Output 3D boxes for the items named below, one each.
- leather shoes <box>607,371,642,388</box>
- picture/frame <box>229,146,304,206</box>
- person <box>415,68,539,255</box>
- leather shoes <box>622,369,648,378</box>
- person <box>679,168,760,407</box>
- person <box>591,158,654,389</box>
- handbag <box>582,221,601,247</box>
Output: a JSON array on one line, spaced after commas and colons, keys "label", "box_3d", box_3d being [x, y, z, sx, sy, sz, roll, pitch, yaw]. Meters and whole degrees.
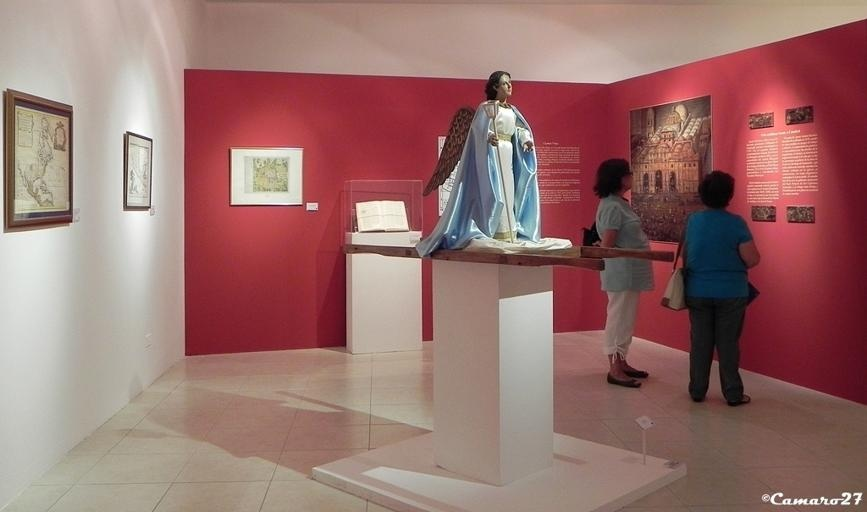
[{"label": "leather shoes", "box_3d": [2.334, 1.498, 7.117, 0.336, 0.132, 0.170, -3, -3, 38]}, {"label": "picture/frame", "box_3d": [-2.486, -1.185, 8.477, 0.887, 0.734, 0.071, 0, 0, -10]}, {"label": "person", "box_3d": [0.440, -0.851, 5.262, 1.056, 1.614, 0.618, 1, 10, 10]}, {"label": "leather shoes", "box_3d": [2.553, 1.466, 7.318, 0.274, 0.067, 0.150, 5, 4, 7]}, {"label": "person", "box_3d": [3.173, 0.563, 6.476, 0.753, 2.158, 0.330, 3, 11, 26]}, {"label": "person", "box_3d": [2.265, 0.202, 7.037, 0.679, 2.723, 0.708, 5, 11, 33]}, {"label": "handbag", "box_3d": [1.996, -0.261, 7.339, 0.220, 0.263, 0.277, 3, 4, 31]}]
